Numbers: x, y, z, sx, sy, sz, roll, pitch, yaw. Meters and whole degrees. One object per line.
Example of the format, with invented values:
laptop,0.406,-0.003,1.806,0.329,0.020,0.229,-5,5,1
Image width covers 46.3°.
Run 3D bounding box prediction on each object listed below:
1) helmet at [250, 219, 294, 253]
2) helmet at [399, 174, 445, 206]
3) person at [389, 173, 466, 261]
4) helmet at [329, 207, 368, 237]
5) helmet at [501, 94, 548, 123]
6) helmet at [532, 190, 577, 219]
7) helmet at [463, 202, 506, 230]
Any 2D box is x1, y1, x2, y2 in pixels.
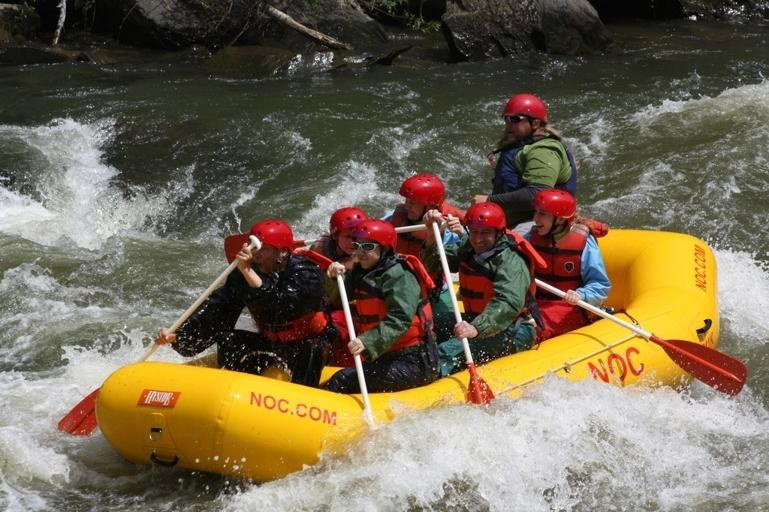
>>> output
helmet,-1.132,-0.237,9.001,0.273,0.352,0.269,-60,26,-9
helmet,0.398,-0.716,9.622,0.406,0.248,0.308,-8,26,-30
person,0.391,-0.502,9.761,0.693,0.347,0.946,14,32,17
helmet,-0.365,-0.422,9.314,0.350,0.276,0.255,-32,-3,26
helmet,1.605,-1.695,10.098,0.501,0.310,0.382,-12,21,-13
helmet,1.781,-0.524,9.393,0.231,0.376,0.291,-60,4,-8
helmet,1.033,-0.393,9.154,0.258,0.343,0.279,1,67,47
